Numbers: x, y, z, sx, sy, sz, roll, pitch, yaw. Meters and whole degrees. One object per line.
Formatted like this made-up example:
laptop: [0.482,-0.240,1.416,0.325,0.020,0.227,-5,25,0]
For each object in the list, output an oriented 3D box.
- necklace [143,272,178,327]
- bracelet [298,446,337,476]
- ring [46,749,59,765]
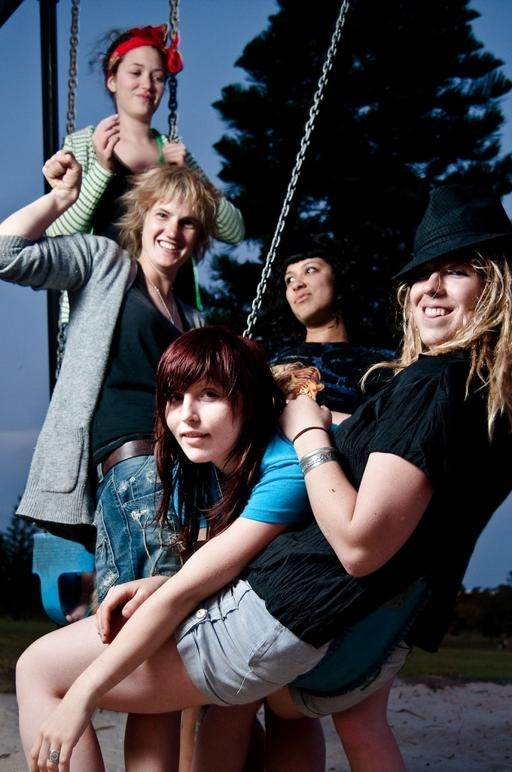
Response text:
necklace: [-0.274,-0.253,2.023,0.008,0.051,0.190,-2,-37,36]
bracelet: [0.103,0.122,1.194,0.060,0.048,0.038,0,-10,2]
ring: [-0.312,0.574,1.113,0.026,0.021,0.008,1,-2,19]
